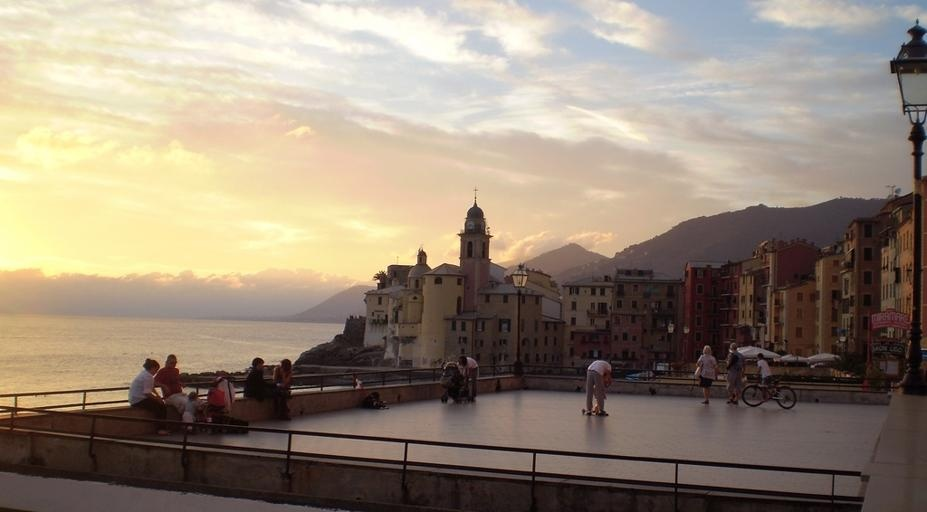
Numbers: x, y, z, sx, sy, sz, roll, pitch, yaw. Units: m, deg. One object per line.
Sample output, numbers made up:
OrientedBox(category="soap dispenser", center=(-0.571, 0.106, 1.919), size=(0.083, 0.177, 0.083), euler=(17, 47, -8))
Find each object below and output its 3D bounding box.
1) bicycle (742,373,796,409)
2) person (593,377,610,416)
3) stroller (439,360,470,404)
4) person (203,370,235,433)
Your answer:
OrientedBox(category="bicycle", center=(11.889, 5.250, 34.138), size=(1.131, 1.184, 2.241), euler=(5, -8, -45))
OrientedBox(category="person", center=(4.854, 4.872, 31.054), size=(0.496, 1.389, 1.113), euler=(1, -6, 8))
OrientedBox(category="stroller", center=(-0.292, 4.877, 34.095), size=(1.070, 1.431, 1.086), euler=(-3, -4, -32))
OrientedBox(category="person", center=(-7.306, 4.274, 26.330), size=(0.765, 1.294, 0.640), euler=(3, -6, -14))
